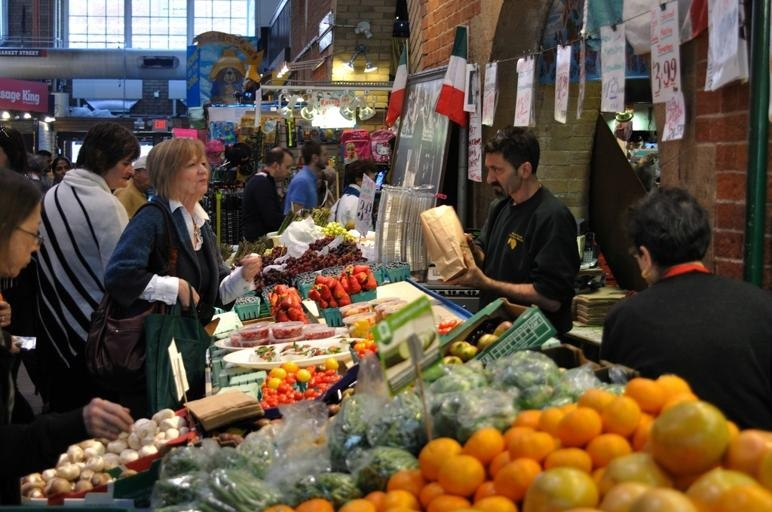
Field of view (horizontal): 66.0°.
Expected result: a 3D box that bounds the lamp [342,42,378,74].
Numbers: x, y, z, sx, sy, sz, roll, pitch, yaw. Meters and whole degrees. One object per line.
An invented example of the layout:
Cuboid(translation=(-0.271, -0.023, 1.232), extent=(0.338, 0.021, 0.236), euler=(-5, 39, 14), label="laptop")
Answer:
Cuboid(translation=(-0.570, -4.442, 13.273), extent=(0.709, 0.610, 0.374), euler=(2, 12, 0), label="lamp")

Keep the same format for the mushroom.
Cuboid(translation=(-1.140, 0.855, 2.509), extent=(0.681, 0.269, 0.584), euler=(-7, 11, -33), label="mushroom")

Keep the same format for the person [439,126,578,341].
Cuboid(translation=(0.881, -0.139, 3.904), extent=(0.599, 1.766, 0.609), euler=(-1, 5, -19), label="person")

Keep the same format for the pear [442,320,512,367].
Cuboid(translation=(0.357, 0.370, 2.468), extent=(0.175, 0.074, 0.217), euler=(-32, -1, -19), label="pear")

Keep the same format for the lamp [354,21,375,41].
Cuboid(translation=(-0.468, -4.968, 13.111), extent=(0.377, 0.356, 0.371), euler=(16, 46, -10), label="lamp")

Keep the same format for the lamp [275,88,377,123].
Cuboid(translation=(-0.926, -2.434, 9.491), extent=(1.426, 0.446, 1.089), euler=(-2, 17, -9), label="lamp")

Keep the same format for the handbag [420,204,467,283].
Cuboid(translation=(0.363, -0.119, 3.844), extent=(0.352, 0.279, 0.477), euler=(0, 47, 3), label="handbag")

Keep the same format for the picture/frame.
Cuboid(translation=(0.398, -1.293, 6.436), extent=(0.094, 1.956, 1.815), euler=(8, 4, -14), label="picture/frame")
